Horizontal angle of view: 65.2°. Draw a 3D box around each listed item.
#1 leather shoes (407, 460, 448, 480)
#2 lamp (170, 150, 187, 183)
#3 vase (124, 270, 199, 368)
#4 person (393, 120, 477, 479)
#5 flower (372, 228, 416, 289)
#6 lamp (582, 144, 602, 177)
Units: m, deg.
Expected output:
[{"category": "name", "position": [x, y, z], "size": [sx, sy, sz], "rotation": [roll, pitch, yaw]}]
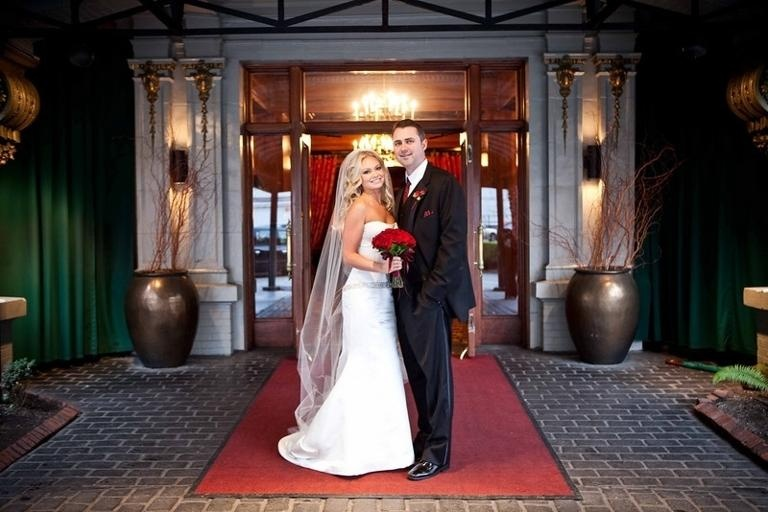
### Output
[{"category": "leather shoes", "position": [0.355, 1.713, 4.835], "size": [0.286, 0.121, 0.125], "rotation": [4, -4, -19]}, {"category": "lamp", "position": [-2.598, -1.145, 7.647], "size": [0.249, 0.415, 0.141], "rotation": [-7, 15, -24]}, {"category": "vase", "position": [-2.593, 0.777, 7.421], "size": [1.071, 1.314, 1.055], "rotation": [-1, -4, -2]}, {"category": "person", "position": [0.403, 0.348, 4.833], "size": [0.620, 2.789, 0.771], "rotation": [0, 14, 2]}, {"category": "flower", "position": [0.126, 0.001, 4.793], "size": [0.423, 0.510, 0.464], "rotation": [-1, 7, 21]}, {"category": "lamp", "position": [2.661, -1.193, 7.674], "size": [0.230, 0.435, 0.152], "rotation": [3, 14, 16]}]
